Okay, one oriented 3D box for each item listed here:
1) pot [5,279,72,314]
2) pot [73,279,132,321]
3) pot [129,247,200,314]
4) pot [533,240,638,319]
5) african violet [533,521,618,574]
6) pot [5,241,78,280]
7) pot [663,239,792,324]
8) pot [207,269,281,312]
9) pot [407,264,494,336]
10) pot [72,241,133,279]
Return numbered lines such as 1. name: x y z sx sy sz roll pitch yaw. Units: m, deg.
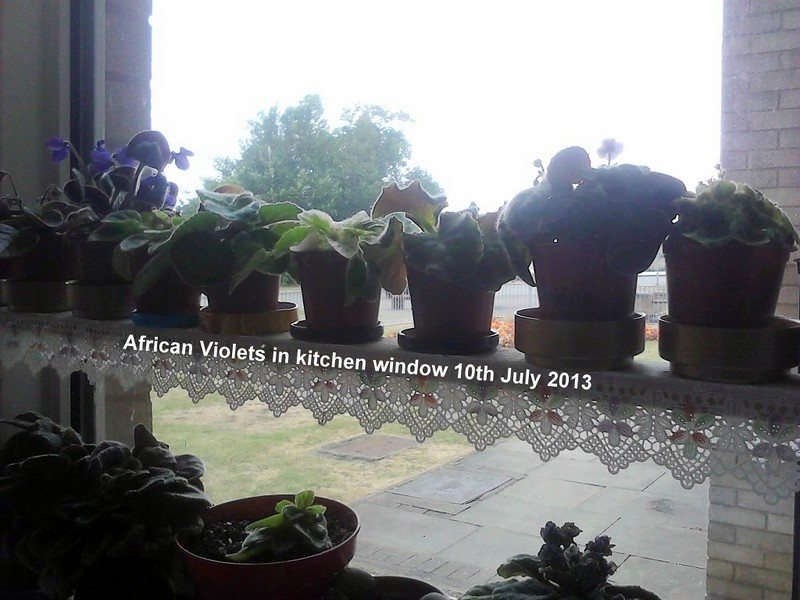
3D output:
1. pot: -0.779 -0.008 1.325 0.105 0.050 0.104 0 -1 0
2. pot: -0.592 0.005 1.227 0.091 0.053 0.086 0 0 0
3. pot: -0.422 -0.027 1.151 0.101 0.107 0.112 0 1 -3
4. pot: 0.250 -0.026 0.854 0.129 0.084 0.105 1 -1 -27
5. african violet: 0.262 0.380 0.935 0.091 0.093 0.057 11 -42 -6
6. pot: -0.771 -0.078 1.342 0.109 0.077 0.110 0 -1 0
7. pot: 0.419 -0.021 0.800 0.126 0.088 0.131 3 -2 0
8. pot: -0.271 -0.006 1.093 0.082 0.057 0.087 -6 -7 -1
9. pot: 0.088 0.001 0.948 0.109 0.085 0.117 0 -2 0
10. pot: -0.588 -0.072 1.231 0.087 0.068 0.092 0 -3 0
